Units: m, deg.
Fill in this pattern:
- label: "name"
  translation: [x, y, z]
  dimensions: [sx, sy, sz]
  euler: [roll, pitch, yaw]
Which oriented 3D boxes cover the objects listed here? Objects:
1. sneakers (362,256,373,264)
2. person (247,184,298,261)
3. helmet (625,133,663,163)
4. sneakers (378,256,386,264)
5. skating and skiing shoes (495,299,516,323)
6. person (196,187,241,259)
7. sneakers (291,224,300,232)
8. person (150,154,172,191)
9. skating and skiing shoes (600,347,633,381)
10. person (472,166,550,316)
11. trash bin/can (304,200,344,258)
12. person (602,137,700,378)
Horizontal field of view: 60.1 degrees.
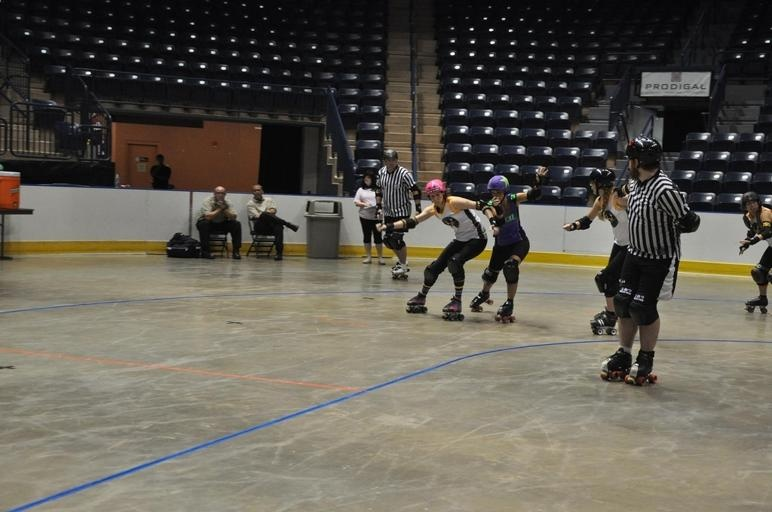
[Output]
- label: "sneakers"
  translation: [-0.462, 0.105, 15.888]
  dimensions: [0.111, 0.125, 0.325]
  euler: [-2, -9, 17]
- label: "person"
  translation: [-2.859, -0.846, 16.322]
  dimensions: [0.877, 1.691, 1.526]
  euler: [-2, 6, -32]
- label: "helmet"
  translation: [2.420, -1.021, 6.197]
  dimensions: [0.259, 0.280, 0.314]
  euler: [-11, 29, -35]
- label: "sneakers"
  translation: [-0.140, 0.098, 15.976]
  dimensions: [0.199, 0.225, 0.586]
  euler: [-1, -5, -4]
- label: "skating and skiing shoes"
  translation: [1.627, 0.739, 9.075]
  dimensions: [0.324, 0.313, 0.178]
  euler: [1, 6, -10]
- label: "person"
  translation: [-3.991, -0.802, 15.713]
  dimensions: [0.981, 1.641, 0.828]
  euler: [0, 6, -15]
- label: "sneakers"
  translation: [-2.275, -0.692, 16.252]
  dimensions: [0.221, 0.162, 0.198]
  euler: [0, -1, 27]
- label: "person"
  translation: [-6.449, -2.422, 18.936]
  dimensions: [0.496, 0.962, 0.776]
  euler: [0, 6, -21]
- label: "skating and skiing shoes"
  translation: [2.279, 1.025, 6.527]
  dimensions: [0.446, 0.209, 0.151]
  euler: [-5, 7, -30]
- label: "person"
  translation: [1.699, -0.197, 9.446]
  dimensions: [0.939, 2.131, 1.461]
  euler: [3, 6, 7]
- label: "trash bin/can"
  translation: [-1.606, -0.674, 16.607]
  dimensions: [0.888, 1.442, 0.535]
  euler: [1, 6, -7]
- label: "person"
  translation: [2.504, 0.065, 6.312]
  dimensions: [0.722, 2.347, 0.500]
  euler: [5, 7, 27]
